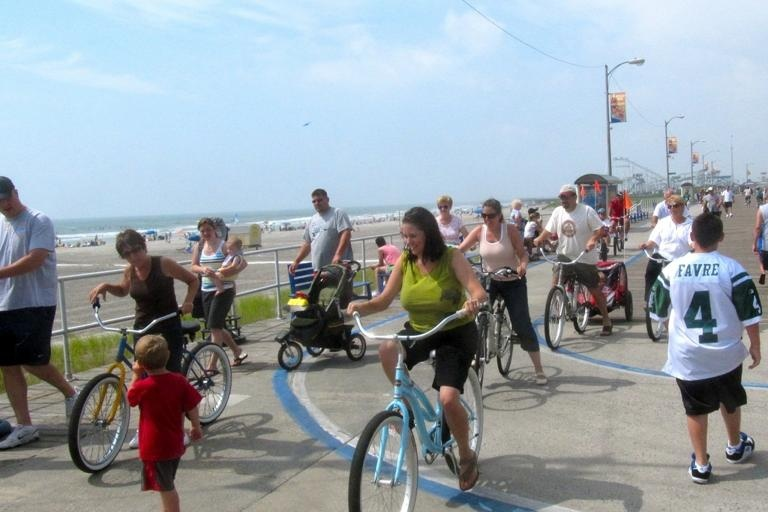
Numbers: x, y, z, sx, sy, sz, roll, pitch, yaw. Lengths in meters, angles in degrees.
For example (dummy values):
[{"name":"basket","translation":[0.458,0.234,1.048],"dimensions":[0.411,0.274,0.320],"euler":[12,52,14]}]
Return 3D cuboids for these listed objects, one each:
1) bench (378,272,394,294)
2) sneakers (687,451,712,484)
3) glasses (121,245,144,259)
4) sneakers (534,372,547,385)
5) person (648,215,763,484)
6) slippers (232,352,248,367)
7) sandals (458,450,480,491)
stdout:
[{"name":"bench","translation":[-0.005,0.623,15.474],"dimensions":[0.438,0.490,0.445],"euler":[0,-1,7]},{"name":"sneakers","translation":[2.978,1.993,6.402],"dimensions":[0.128,0.152,0.331],"euler":[0,9,14]},{"name":"glasses","translation":[-2.646,-0.049,7.158],"dimensions":[0.151,0.111,0.190],"euler":[-4,7,-5]},{"name":"sneakers","translation":[1.985,1.554,8.611],"dimensions":[0.131,0.103,0.375],"euler":[-7,-4,6]},{"name":"person","translation":[3.042,0.853,6.389],"dimensions":[0.945,2.400,0.756],"euler":[1,13,14]},{"name":"slippers","translation":[-2.089,1.512,9.936],"dimensions":[0.113,0.082,0.299],"euler":[-6,0,10]},{"name":"sandals","translation":[0.771,1.958,6.222],"dimensions":[0.139,0.398,0.107],"euler":[-4,-12,19]}]
